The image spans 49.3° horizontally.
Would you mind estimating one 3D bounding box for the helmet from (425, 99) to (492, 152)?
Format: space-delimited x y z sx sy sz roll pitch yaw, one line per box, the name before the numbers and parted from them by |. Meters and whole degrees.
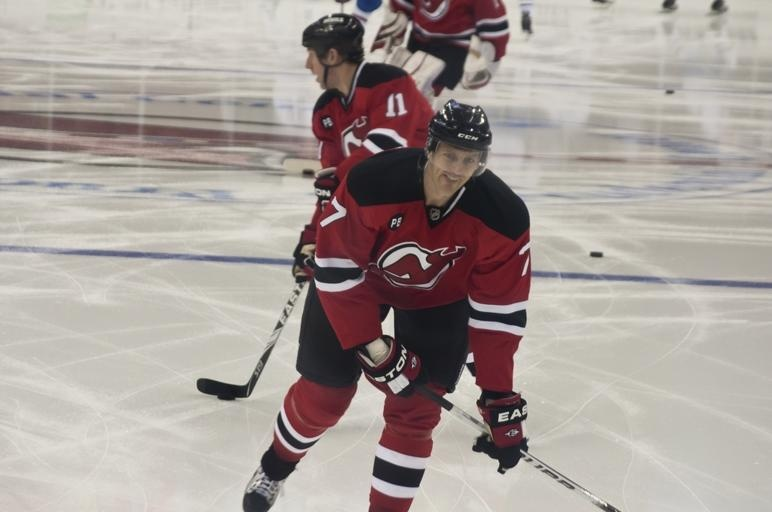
helmet | 0.342 -0.603 3.870 0.231 0.238 0.272 12 37 -12
